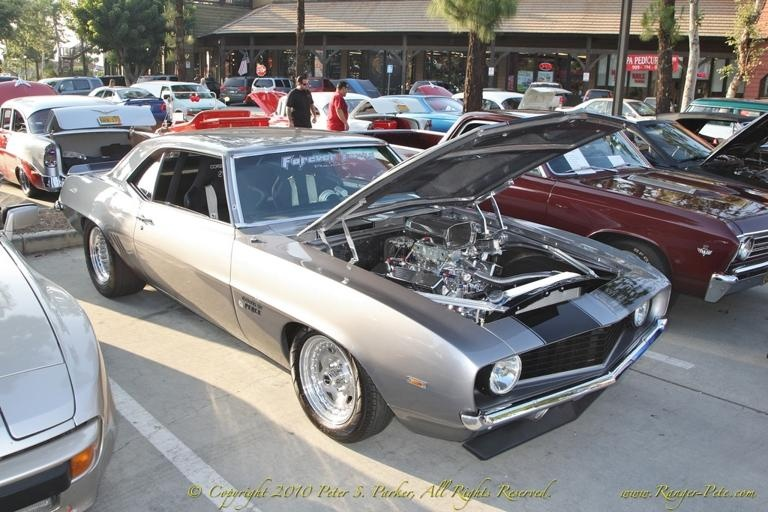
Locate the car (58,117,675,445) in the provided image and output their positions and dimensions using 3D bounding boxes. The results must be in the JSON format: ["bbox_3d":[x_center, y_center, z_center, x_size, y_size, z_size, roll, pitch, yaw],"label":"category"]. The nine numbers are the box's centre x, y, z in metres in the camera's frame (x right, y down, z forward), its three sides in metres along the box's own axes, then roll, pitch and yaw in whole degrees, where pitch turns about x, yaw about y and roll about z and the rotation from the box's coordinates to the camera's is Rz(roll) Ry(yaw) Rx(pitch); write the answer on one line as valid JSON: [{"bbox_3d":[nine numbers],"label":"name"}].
[{"bbox_3d":[-0.730,-0.173,4.321,5.375,1.781,2.483,17,26,30],"label":"car"}]
